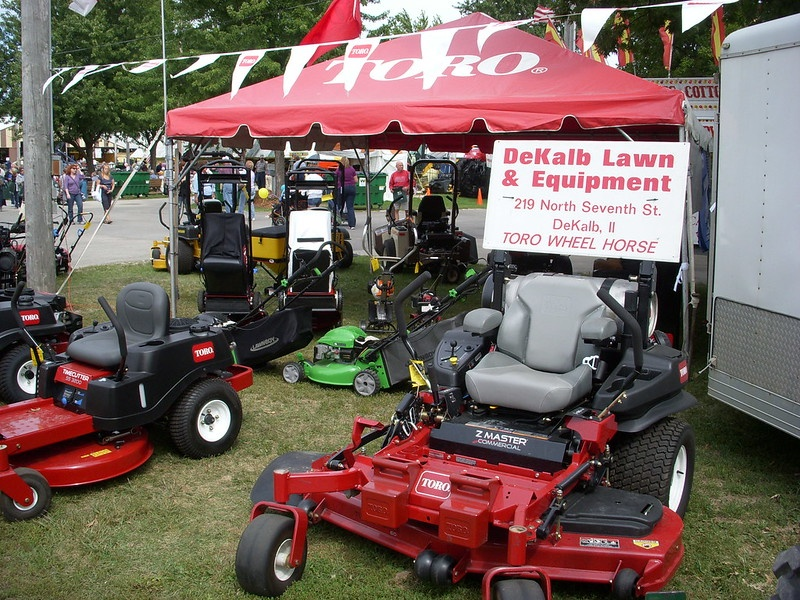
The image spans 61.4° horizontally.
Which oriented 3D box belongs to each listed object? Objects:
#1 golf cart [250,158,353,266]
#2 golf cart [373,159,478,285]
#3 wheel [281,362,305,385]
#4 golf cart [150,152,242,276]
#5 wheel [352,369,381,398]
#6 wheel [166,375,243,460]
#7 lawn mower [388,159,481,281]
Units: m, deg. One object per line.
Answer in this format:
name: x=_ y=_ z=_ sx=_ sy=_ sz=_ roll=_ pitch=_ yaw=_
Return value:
golf cart: x=-1.496 y=-1.498 z=11.987 sx=1.722 sy=1.822 sz=1.278 roll=4 pitch=12 yaw=-7
golf cart: x=0.449 y=-1.765 z=14.301 sx=1.905 sy=2.381 sz=3.440 roll=-1 pitch=14 yaw=-16
wheel: x=-1.235 y=0.866 z=7.849 sx=0.213 sy=0.229 sz=0.087 roll=7 pitch=5 yaw=20
golf cart: x=-4.045 y=-1.812 z=13.748 sx=2.083 sy=2.523 sz=1.801 roll=11 pitch=10 yaw=43
wheel: x=-0.361 y=0.920 z=7.444 sx=0.228 sy=0.239 sz=0.089 roll=30 pitch=15 yaw=27
wheel: x=-1.766 y=1.064 z=6.014 sx=0.191 sy=0.632 sz=0.604 roll=-4 pitch=12 yaw=43
lawn mower: x=0.775 y=-1.198 z=13.218 sx=1.521 sy=2.115 sz=2.847 roll=-2 pitch=17 yaw=-9
